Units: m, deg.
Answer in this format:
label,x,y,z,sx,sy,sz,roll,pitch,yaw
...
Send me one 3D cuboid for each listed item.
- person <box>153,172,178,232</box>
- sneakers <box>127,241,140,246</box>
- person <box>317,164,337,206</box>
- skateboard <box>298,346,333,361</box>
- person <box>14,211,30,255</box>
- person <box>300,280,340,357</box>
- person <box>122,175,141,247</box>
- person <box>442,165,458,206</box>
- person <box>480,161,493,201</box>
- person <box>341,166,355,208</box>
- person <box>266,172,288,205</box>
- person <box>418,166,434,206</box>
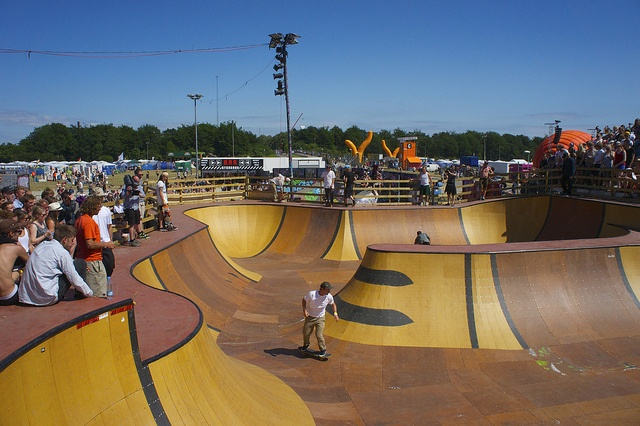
label,x,y,z,sx,sy,sz,roll,pitch,yaw
person,-5.314,-0.411,17.285,0.557,2.061,1.549,-4,8,-17
sneakers,-5.614,0.923,15.219,0.286,0.155,0.135,1,7,-1
person,0.391,-1.279,22.636,0.538,1.889,1.144,-1,7,-1
skateboard,-0.137,3.644,12.961,0.983,0.170,0.281,8,22,40
person,-6.303,0.411,10.618,0.272,0.899,0.329,3,48,-21
person,-0.067,2.690,12.933,0.997,2.025,1.013,-2,7,-1
person,-5.610,-0.073,15.138,0.494,2.144,0.682,-4,8,-23
person,5.789,-1.215,22.393,0.457,1.772,1.397,0,7,14
person,7.753,-1.564,23.640,0.525,1.760,1.243,2,8,24
person,1.283,-1.187,22.497,0.508,1.671,0.719,-1,7,4
person,-2.236,-1.253,25.938,0.988,0.974,2.914,-19,-23,-16
person,4.932,-1.282,23.538,0.557,1.846,1.410,0,7,14
